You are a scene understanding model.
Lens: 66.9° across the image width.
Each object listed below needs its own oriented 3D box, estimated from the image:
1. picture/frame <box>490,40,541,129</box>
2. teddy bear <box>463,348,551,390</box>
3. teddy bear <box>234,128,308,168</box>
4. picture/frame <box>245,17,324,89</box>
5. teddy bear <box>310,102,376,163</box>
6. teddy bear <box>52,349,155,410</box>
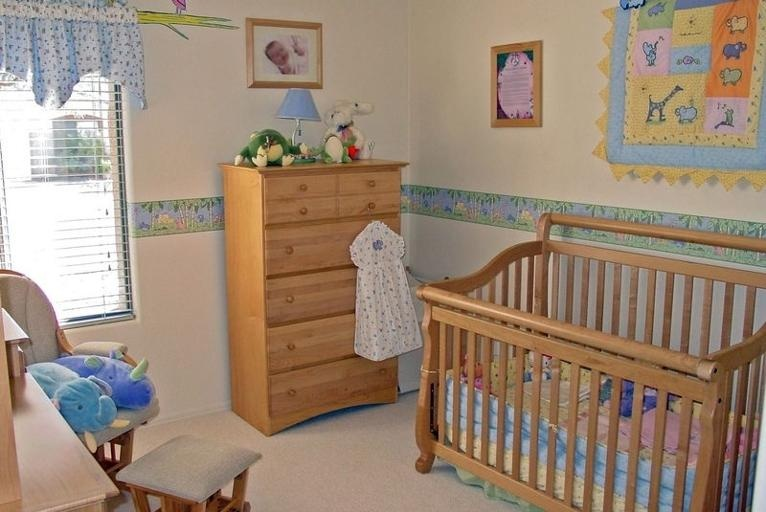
[{"bbox_3d":[0.896,-1.141,3.863,0.092,0.533,0.419,-13,19,-39],"label":"picture/frame"},{"bbox_3d":[0.737,0.678,3.400,0.572,0.128,0.280,-4,4,-38],"label":"teddy bear"},{"bbox_3d":[-0.724,-0.669,3.676,0.436,0.196,0.445,-4,16,-26],"label":"teddy bear"},{"bbox_3d":[-0.701,-1.397,3.957,0.570,0.426,0.025,-3,6,-29],"label":"picture/frame"},{"bbox_3d":[-0.263,-0.828,3.897,0.373,0.469,0.482,6,5,35],"label":"teddy bear"},{"bbox_3d":[-1.496,0.635,3.151,0.553,0.296,0.240,15,6,16],"label":"teddy bear"}]
